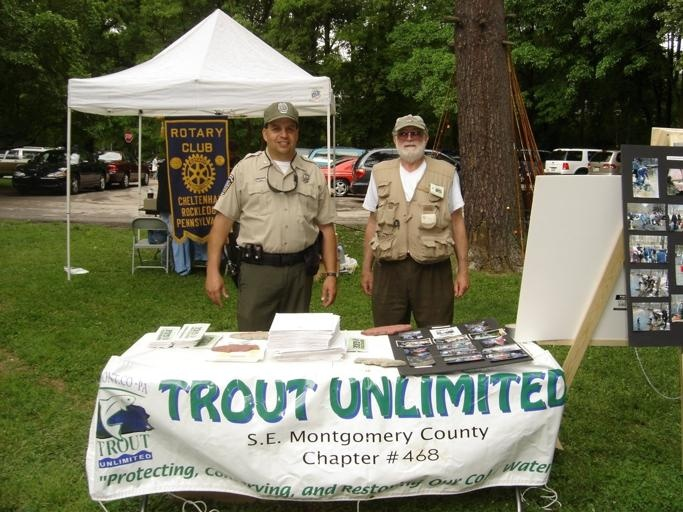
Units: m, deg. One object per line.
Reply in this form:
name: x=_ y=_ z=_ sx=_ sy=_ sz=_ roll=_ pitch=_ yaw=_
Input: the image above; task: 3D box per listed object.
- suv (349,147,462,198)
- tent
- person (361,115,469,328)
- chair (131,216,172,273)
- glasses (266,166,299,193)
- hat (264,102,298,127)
suv: x=2.042 y=-2.589 z=20.038 sx=3.419 sy=1.542 sz=1.715 roll=-8 pitch=17 yaw=-7
tent: x=-2.043 y=-1.540 z=10.191 sx=3.595 sy=3.838 sz=3.528 roll=-3 pitch=11 yaw=-15
person: x=0.599 y=-0.243 z=5.401 sx=0.870 sy=1.689 sz=0.568 roll=3 pitch=7 yaw=1
chair: x=-2.867 y=-0.146 z=10.253 sx=0.546 sy=0.958 sz=0.729 roll=1 pitch=26 yaw=-7
glasses: x=-0.456 y=-0.573 z=5.214 sx=0.233 sy=0.199 sz=0.098 roll=2 pitch=7 yaw=-8
hat: x=-0.458 y=-1.067 z=5.152 sx=0.253 sy=0.179 sz=0.207 roll=2 pitch=8 yaw=-7
